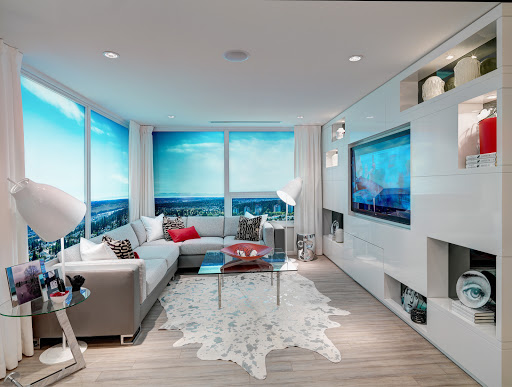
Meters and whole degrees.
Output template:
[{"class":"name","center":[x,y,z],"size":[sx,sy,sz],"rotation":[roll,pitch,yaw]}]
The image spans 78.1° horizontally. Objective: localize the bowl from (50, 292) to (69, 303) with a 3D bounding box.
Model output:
[{"class":"bowl","center":[-1.737,0.904,2.790],"size":[0.101,0.052,0.099],"rotation":[1,-6,0]}]

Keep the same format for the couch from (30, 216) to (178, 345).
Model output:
[{"class":"couch","center":[-1.671,0.645,3.542],"size":[0.878,0.728,2.188],"rotation":[-2,1,-6]}]

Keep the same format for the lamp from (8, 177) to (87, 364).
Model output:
[{"class":"lamp","center":[-1.761,0.692,2.891],"size":[0.732,1.657,0.446],"rotation":[-7,7,-12]}]

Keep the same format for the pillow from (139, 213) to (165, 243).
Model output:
[{"class":"pillow","center":[-1.862,0.623,5.624],"size":[0.175,0.340,0.393],"rotation":[16,-11,23]}]

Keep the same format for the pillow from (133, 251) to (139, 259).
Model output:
[{"class":"pillow","center":[-1.585,0.804,4.161],"size":[0.083,0.103,0.110],"rotation":[2,-3,-21]}]

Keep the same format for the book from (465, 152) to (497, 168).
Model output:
[{"class":"book","center":[1.914,-0.280,2.705],"size":[0.073,0.137,0.277],"rotation":[-2,8,-10]}]

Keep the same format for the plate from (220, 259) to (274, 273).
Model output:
[{"class":"plate","center":[-0.119,0.904,3.940],"size":[0.639,0.053,0.500],"rotation":[-1,8,-3]}]

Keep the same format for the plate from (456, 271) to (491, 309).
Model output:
[{"class":"plate","center":[1.943,0.852,2.826],"size":[0.184,0.309,0.269],"rotation":[-9,12,-43]}]

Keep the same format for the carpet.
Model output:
[{"class":"carpet","center":[-0.124,1.480,3.984],"size":[2.326,0.091,2.718],"rotation":[-1,5,-12]}]

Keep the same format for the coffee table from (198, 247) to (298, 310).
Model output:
[{"class":"coffee table","center":[-0.162,0.979,4.168],"size":[0.921,0.495,0.938],"rotation":[0,-6,-5]}]

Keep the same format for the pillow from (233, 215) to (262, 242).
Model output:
[{"class":"pillow","center":[-0.123,0.626,5.786],"size":[0.539,0.440,0.255],"rotation":[1,10,28]}]

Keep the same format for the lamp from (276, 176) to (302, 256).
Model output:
[{"class":"lamp","center":[0.601,0.449,5.933],"size":[0.453,1.637,0.360],"rotation":[-3,20,-21]}]
